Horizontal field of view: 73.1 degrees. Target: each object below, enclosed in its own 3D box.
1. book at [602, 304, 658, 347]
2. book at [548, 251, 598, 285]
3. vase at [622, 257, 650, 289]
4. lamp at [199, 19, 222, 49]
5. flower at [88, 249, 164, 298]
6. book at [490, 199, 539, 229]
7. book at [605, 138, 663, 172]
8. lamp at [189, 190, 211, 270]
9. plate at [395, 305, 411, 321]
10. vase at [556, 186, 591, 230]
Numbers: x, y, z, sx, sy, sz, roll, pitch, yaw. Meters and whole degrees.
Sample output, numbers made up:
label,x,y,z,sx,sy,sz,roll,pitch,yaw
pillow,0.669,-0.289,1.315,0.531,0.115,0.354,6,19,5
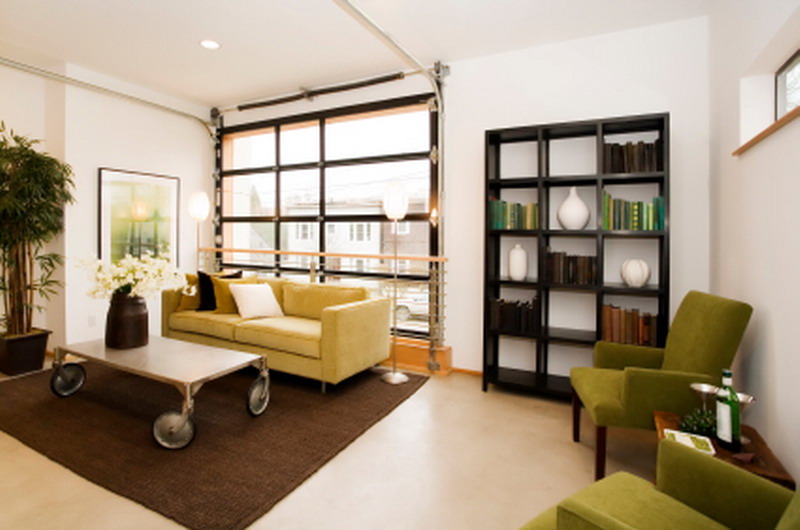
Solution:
label,x,y,z,sx,sy,sz,roll,pitch,yaw
book,2.266,0.463,5.378,0.563,0.561,0.326,2,4,26
book,1.745,0.027,5.488,0.477,0.316,0.048,2,4,19
vase,2.299,0.088,5.294,0.259,0.254,0.259,-1,0,-18
lamp,-2.088,-2.492,5.965,0.224,0.095,0.464,0,4,-20
flower,-2.581,-0.011,5.322,0.517,0.339,0.496,3,12,13
book,1.218,-0.535,5.718,0.310,0.449,0.461,3,2,40
book,2.286,-1.063,5.306,0.546,0.317,0.133,2,4,19
lamp,-2.783,-0.489,7.587,0.276,1.132,0.928,0,4,-19
plate,0.044,0.589,6.737,0.181,0.189,0.182,1,-1,6
vase,1.810,-0.594,5.597,0.325,0.447,0.325,2,4,19
